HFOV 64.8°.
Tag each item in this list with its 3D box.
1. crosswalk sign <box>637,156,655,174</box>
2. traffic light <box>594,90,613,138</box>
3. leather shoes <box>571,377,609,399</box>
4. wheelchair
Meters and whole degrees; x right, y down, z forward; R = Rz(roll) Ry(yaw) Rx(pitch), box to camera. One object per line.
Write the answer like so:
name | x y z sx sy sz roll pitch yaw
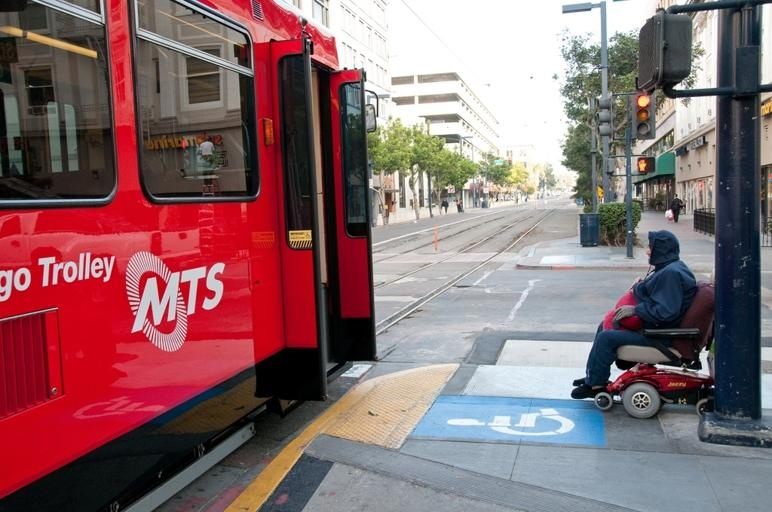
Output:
crosswalk sign | 8.180 -2.834 19.117 0.454 0.514 1.473 1 7 21
traffic light | 6.543 -4.244 18.389 0.518 1.205 0.532 3 8 38
leather shoes | 2.173 1.459 6.554 0.250 0.104 0.258 -8 -4 -6
wheelchair | 2.897 0.965 6.638 1.199 1.369 1.036 3 4 16
